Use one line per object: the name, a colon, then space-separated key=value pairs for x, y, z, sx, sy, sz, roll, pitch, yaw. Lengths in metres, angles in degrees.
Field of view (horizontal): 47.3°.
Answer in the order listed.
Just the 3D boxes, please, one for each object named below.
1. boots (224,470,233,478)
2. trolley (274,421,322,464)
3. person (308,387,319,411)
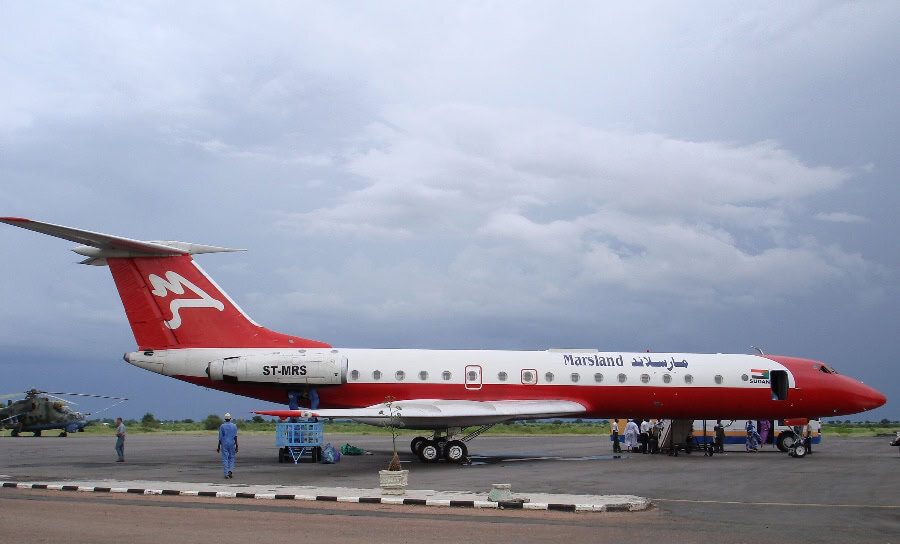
boots: x=-7.557 y=6.943 z=35.164 sx=0.365 sy=0.107 sz=0.190 roll=2 pitch=-51 yaw=-3
trolley: x=-5.345 y=6.890 z=41.112 sx=1.795 sy=1.362 sz=2.947 roll=-5 pitch=-16 yaw=23
person: x=-5.500 y=5.095 z=41.457 sx=0.416 sy=0.807 sz=0.574 roll=0 pitch=-13 yaw=-1
